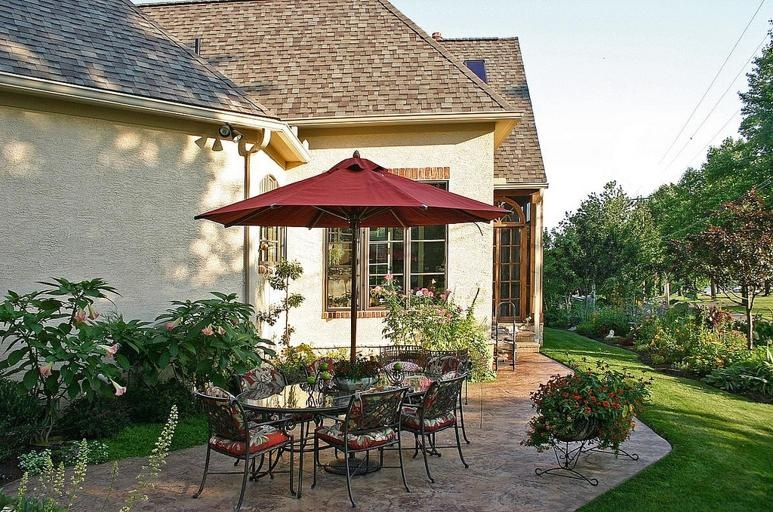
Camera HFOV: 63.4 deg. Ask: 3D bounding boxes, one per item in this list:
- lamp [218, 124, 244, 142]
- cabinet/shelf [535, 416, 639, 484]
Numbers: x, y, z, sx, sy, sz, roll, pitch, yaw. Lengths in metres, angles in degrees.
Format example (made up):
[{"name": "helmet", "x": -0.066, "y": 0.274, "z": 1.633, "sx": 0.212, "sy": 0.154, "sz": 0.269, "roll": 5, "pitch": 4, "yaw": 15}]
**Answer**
[{"name": "lamp", "x": -3.080, "y": -2.410, "z": 12.368, "sx": 0.556, "sy": 0.249, "sz": 0.268, "roll": 14, "pitch": 10, "yaw": -43}, {"name": "cabinet/shelf", "x": 3.193, "y": 3.237, "z": 10.195, "sx": 0.970, "sy": 0.788, "sz": 1.503, "roll": 2, "pitch": 1, "yaw": 27}]
